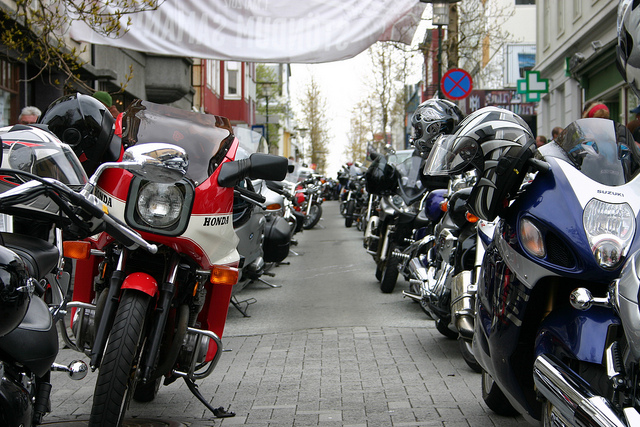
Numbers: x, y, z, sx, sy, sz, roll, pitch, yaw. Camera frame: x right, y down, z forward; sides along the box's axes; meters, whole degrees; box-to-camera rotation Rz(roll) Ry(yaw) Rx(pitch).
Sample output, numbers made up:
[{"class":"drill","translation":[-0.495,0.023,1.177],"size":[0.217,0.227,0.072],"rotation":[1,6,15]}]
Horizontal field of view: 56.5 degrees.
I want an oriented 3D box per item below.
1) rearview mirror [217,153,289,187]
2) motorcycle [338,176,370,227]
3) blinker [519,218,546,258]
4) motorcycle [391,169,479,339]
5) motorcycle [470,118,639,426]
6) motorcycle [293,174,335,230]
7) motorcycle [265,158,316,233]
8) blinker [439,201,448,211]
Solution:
[{"class":"rearview mirror","translation":[-0.498,-0.300,4.208],"size":[0.536,0.239,0.133],"rotation":[-2,15,0]},{"class":"motorcycle","translation":[1.240,-0.574,22.569],"size":[0.872,1.189,1.900],"rotation":[18,4,6]},{"class":"blinker","translation":[1.160,0.136,3.286],"size":[0.043,0.201,0.103],"rotation":[2,-19,-45]},{"class":"motorcycle","translation":[1.311,0.348,6.829],"size":[0.838,1.338,1.890],"rotation":[17,2,-3]},{"class":"motorcycle","translation":[1.409,0.370,3.456],"size":[0.643,1.854,1.394],"rotation":[-1,3,-9]},{"class":"motorcycle","translation":[-0.332,-0.199,19.844],"size":[1.069,1.296,1.809],"rotation":[6,6,-14]},{"class":"motorcycle","translation":[-0.692,-0.202,16.159],"size":[1.181,1.465,2.144],"rotation":[-16,0,18]},{"class":"blinker","translation":[1.380,-0.087,6.666],"size":[0.088,0.115,0.079],"rotation":[7,10,29]}]
